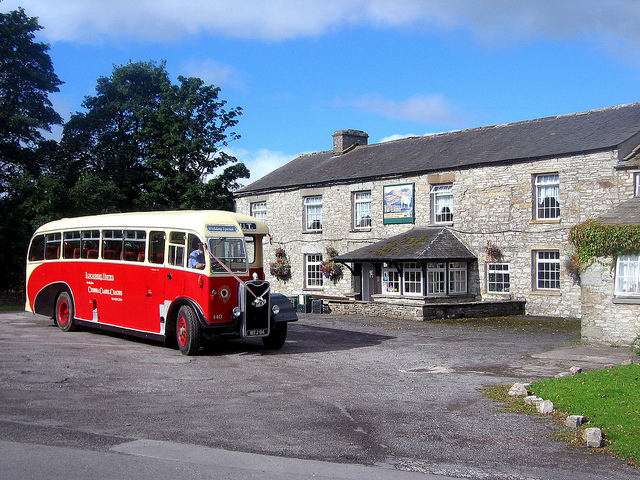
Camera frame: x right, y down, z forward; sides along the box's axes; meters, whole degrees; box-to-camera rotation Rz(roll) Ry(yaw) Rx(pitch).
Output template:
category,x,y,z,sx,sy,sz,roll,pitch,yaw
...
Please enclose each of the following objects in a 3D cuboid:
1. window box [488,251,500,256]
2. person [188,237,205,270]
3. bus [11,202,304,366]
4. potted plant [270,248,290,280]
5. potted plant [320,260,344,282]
category,x,y,z,sx,sy,sz,roll,pitch,yaw
window box,8.570,0.649,29.238,0.439,0.221,0.183,1,1,5
person,-3.402,0.353,16.384,0.267,0.849,0.704,-1,2,-39
bus,-5.858,1.155,19.932,9.841,4.192,3.553,2,-2,35
potted plant,-2.562,1.605,38.402,1.199,1.983,0.994,0,-10,2
potted plant,0.765,1.843,35.473,1.183,0.790,1.198,3,3,-5
